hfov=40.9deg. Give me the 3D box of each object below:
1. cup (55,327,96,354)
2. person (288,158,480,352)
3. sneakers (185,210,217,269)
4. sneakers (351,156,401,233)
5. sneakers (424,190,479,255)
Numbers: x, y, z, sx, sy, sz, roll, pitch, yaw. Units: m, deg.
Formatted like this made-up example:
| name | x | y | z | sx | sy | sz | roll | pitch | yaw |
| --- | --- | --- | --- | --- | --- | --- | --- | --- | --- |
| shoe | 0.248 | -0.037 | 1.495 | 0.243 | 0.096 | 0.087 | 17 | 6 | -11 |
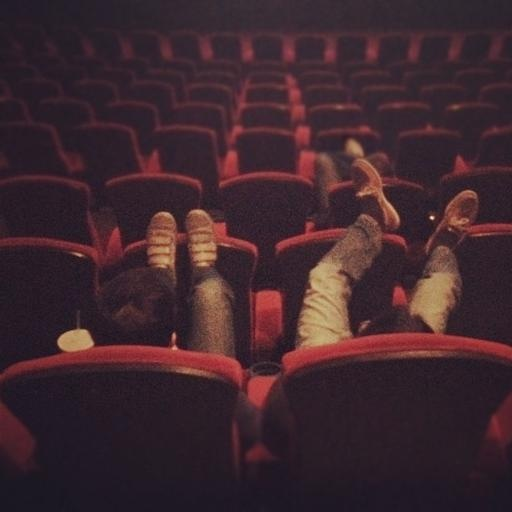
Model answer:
| name | x | y | z | sx | sy | sz | roll | pitch | yaw |
| --- | --- | --- | --- | --- | --- | --- | --- | --- | --- |
| cup | -0.644 | 0.301 | 2.433 | 0.104 | 0.072 | 0.084 | -5 | 12 | -45 |
| person | 0.520 | -0.019 | 2.575 | 0.567 | 0.633 | 0.804 | 6 | 9 | 17 |
| sneakers | -0.220 | -0.087 | 2.703 | 0.089 | 0.108 | 0.274 | 0 | 51 | -3 |
| sneakers | 0.488 | -0.256 | 2.829 | 0.125 | 0.384 | 0.148 | -26 | -8 | 29 |
| sneakers | 0.826 | -0.142 | 2.883 | 0.117 | 0.343 | 0.124 | 30 | 17 | 22 |
